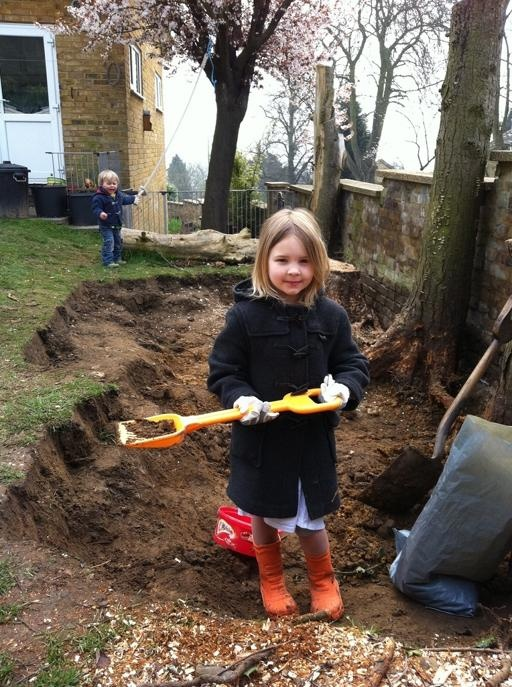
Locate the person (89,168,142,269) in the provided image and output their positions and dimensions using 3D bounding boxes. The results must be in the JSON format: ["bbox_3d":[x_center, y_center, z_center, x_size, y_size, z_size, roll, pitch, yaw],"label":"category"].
[{"bbox_3d":[-1.731,-1.580,7.593,0.671,1.320,0.595,-2,12,-34],"label":"person"}]

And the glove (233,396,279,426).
[{"bbox_3d":[0.000,0.213,1.961,0.117,0.049,0.084,19,-7,-24],"label":"glove"}]

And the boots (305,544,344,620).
[{"bbox_3d":[0.255,0.916,2.338,0.110,0.218,0.235,-11,24,1],"label":"boots"}]

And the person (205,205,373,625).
[{"bbox_3d":[0.119,0.271,2.340,0.588,1.449,0.661,0,5,-1],"label":"person"}]

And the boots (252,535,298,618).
[{"bbox_3d":[0.080,0.923,2.343,0.124,0.267,0.298,-8,-10,-12],"label":"boots"}]

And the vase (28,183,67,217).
[{"bbox_3d":[-3.238,-2.209,9.493,0.538,0.554,0.551,7,-2,-11],"label":"vase"}]

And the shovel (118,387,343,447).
[{"bbox_3d":[-0.059,0.253,2.048,0.753,0.072,0.166,-10,19,-7],"label":"shovel"}]
